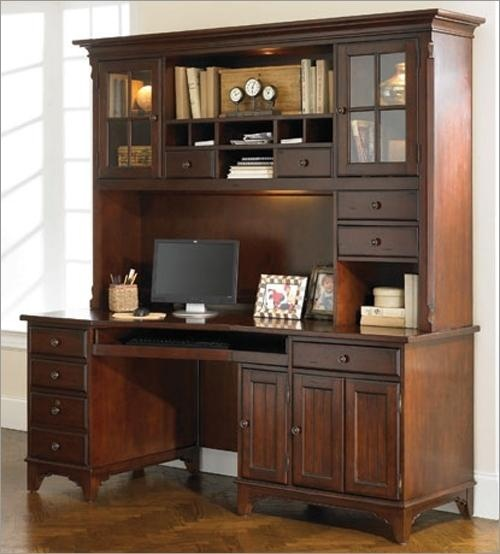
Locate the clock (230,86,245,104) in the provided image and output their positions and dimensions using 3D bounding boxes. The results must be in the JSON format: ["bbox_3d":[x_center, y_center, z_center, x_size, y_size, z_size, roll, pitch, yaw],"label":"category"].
[{"bbox_3d":[-0.058,-0.791,2.606,0.074,0.068,0.019,-5,-4,37],"label":"clock"}]

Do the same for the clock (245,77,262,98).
[{"bbox_3d":[0.017,-0.817,2.568,0.085,0.079,0.020,15,13,34],"label":"clock"}]

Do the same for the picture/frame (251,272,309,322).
[{"bbox_3d":[0.142,0.090,2.636,0.225,0.189,0.039,3,-16,34],"label":"picture/frame"}]

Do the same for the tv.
[{"bbox_3d":[-0.253,-0.004,2.783,0.398,0.309,0.097,0,-6,15],"label":"tv"}]

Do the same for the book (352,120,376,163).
[{"bbox_3d":[0.427,-0.521,2.270,0.090,0.169,0.009,2,4,30],"label":"book"}]

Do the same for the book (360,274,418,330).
[{"bbox_3d":[0.531,0.091,2.302,0.183,0.206,0.235,0,3,0],"label":"book"}]

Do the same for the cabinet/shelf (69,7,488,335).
[{"bbox_3d":[0.047,-0.415,2.730,1.755,1.224,0.446,6,13,32],"label":"cabinet/shelf"}]

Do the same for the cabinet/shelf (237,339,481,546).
[{"bbox_3d":[0.429,0.590,2.451,0.779,0.637,0.575,-6,-11,42],"label":"cabinet/shelf"}]

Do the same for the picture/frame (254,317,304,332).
[{"bbox_3d":[0.102,0.194,2.396,0.210,0.020,0.162,3,2,37],"label":"picture/frame"}]

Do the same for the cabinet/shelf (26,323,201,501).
[{"bbox_3d":[-0.489,0.614,2.943,0.576,0.929,0.986,-2,-4,38],"label":"cabinet/shelf"}]

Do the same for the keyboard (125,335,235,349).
[{"bbox_3d":[-0.291,0.273,2.474,0.439,0.022,0.190,1,3,18],"label":"keyboard"}]
